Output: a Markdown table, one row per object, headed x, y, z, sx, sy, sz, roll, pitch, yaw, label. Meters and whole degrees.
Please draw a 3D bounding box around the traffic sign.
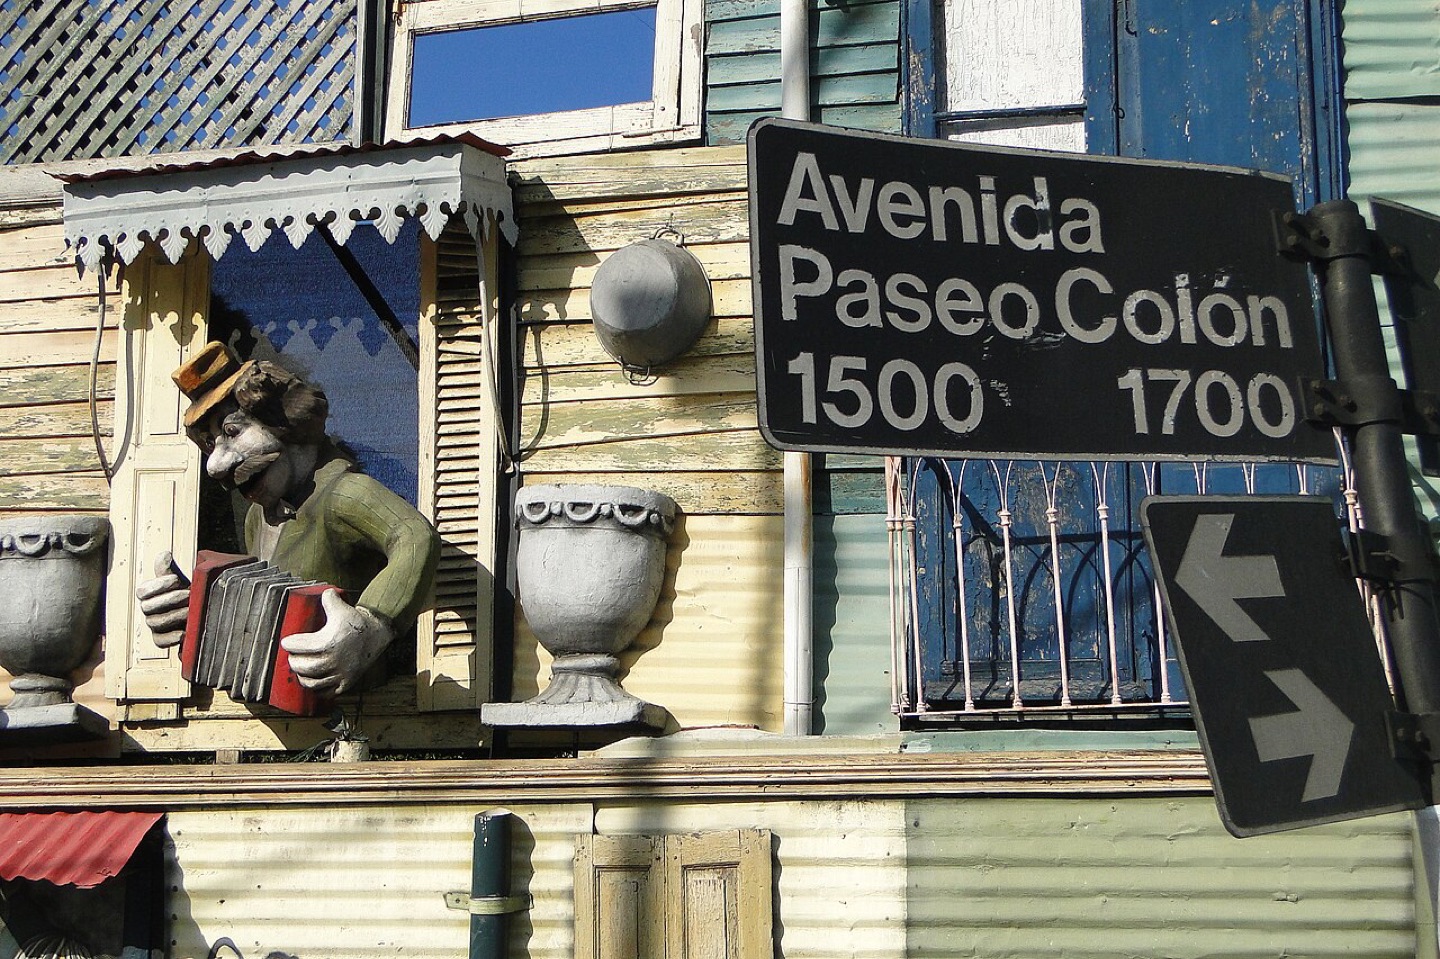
| x | y | z | sx | sy | sz | roll | pitch | yaw | label |
| --- | --- | --- | --- | --- | --- | --- | --- | --- | --- |
| 1.188 | -0.674 | 10.973 | 1.715 | 0.910 | 0.022 | 1 | -16 | -10 | traffic sign |
